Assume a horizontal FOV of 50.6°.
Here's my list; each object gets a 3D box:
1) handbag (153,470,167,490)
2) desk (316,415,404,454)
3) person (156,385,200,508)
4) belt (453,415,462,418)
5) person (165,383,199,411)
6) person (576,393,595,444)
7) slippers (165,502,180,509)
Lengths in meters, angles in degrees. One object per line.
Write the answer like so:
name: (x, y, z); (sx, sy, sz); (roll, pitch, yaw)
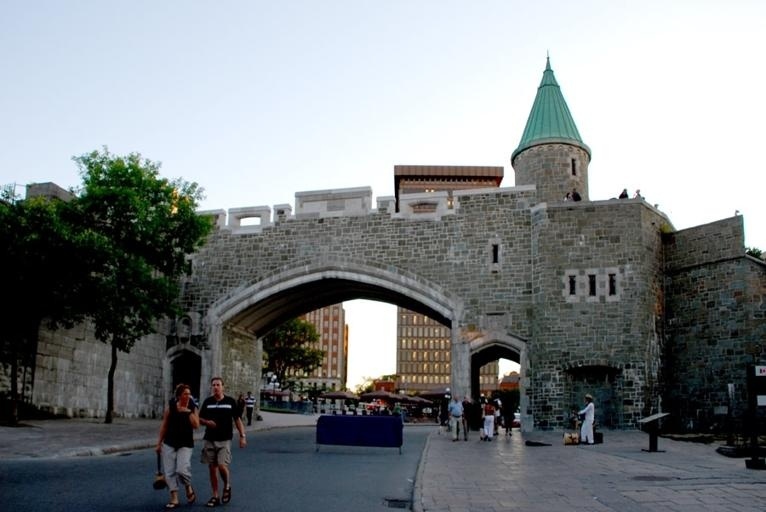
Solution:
handbag: (-6.008, 6.026, 21.831); (0.343, 0.433, 0.569); (6, -15, -16)
desk: (-0.907, 6.569, 30.396); (3.117, 1.187, 0.744); (3, -14, -5)
person: (-5.659, 5.234, 22.499); (1.128, 3.295, 1.346); (5, -14, -13)
belt: (3.235, 7.004, 35.570); (0.331, 0.129, 0.069); (4, -14, -9)
person: (-5.584, 3.953, 22.642); (0.967, 0.951, 0.630); (7, -35, -25)
person: (8.522, 6.881, 34.015); (0.594, 2.000, 1.217); (-1, -15, 13)
slippers: (-5.648, 6.658, 21.693); (0.355, 0.192, 0.291); (7, -16, -19)
